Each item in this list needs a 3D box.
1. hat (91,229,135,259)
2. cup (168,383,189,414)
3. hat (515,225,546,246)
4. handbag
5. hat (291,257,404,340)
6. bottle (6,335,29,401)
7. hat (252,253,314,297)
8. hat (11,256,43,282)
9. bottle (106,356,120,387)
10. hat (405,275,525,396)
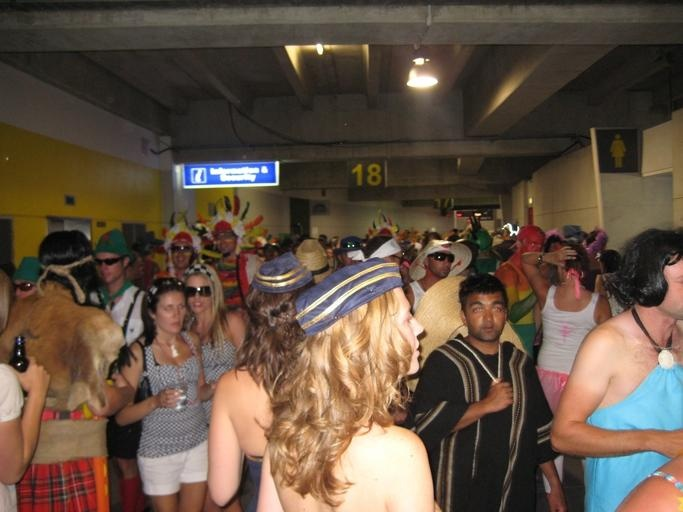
[{"bbox_3d":[-1.990,-0.114,4.964,0.250,0.181,0.273,3,-6,1],"label":"hat"},{"bbox_3d":[-1.064,0.953,3.824,0.153,0.178,0.149,1,8,0],"label":"cup"},{"bbox_3d":[1.812,-0.216,5.431,0.164,0.184,0.228,3,-8,-11],"label":"hat"},{"bbox_3d":[-1.745,1.029,4.354,0.269,0.303,1.002,-15,35,-14],"label":"handbag"},{"bbox_3d":[0.025,0.172,2.535,0.541,0.150,0.373,-25,7,13],"label":"hat"},{"bbox_3d":[-1.787,0.594,3.144,0.101,0.292,0.103,-1,-4,0],"label":"bottle"},{"bbox_3d":[-0.335,0.091,3.364,0.225,0.100,0.250,7,31,24],"label":"hat"},{"bbox_3d":[-1.987,0.076,3.593,0.123,0.107,0.200,-1,-8,-11],"label":"hat"},{"bbox_3d":[-1.448,0.730,3.566,0.056,0.238,0.124,7,3,-3],"label":"bottle"},{"bbox_3d":[0.995,0.536,3.954,0.813,0.838,0.232,26,-3,-34],"label":"hat"}]
